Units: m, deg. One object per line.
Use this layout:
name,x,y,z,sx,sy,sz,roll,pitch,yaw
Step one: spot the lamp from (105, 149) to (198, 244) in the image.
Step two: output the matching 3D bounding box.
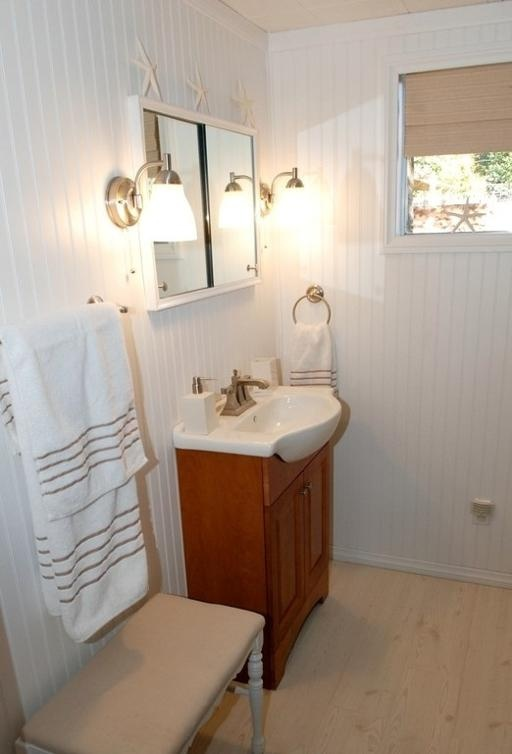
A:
lamp,-0.259,-0.436,1.332,0.236,0.267,0.151,8,19,19

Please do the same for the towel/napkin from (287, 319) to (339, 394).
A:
towel/napkin,0.251,-0.086,2.439,0.192,0.391,0.068,0,36,6

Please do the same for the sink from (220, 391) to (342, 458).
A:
sink,0.096,0.175,1.865,0.368,0.162,0.652,1,9,16

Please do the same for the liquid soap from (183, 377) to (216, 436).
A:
liquid soap,-0.193,0.093,1.700,0.069,0.172,0.092,-5,12,5

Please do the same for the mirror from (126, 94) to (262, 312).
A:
mirror,-0.197,-0.539,1.656,0.044,0.663,0.708,1,15,25

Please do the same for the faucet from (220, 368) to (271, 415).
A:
faucet,-0.050,0.015,1.900,0.121,0.152,0.181,2,9,13

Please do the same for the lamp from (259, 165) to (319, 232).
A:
lamp,0.131,-0.735,2.239,0.254,0.361,0.220,8,18,25
